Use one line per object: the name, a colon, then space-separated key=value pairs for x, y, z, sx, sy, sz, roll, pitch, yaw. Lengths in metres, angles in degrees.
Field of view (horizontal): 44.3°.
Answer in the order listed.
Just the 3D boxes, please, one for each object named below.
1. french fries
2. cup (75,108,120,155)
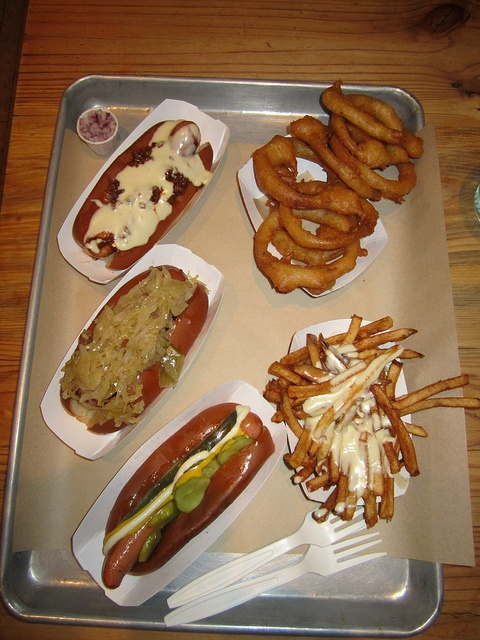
french fries: x=0.466 y=0.422 z=2.531 sx=0.770 sy=0.429 sz=0.864 roll=39 pitch=73 yaw=9
cup: x=-0.655 y=-0.883 z=2.814 sx=0.219 sy=0.158 sz=0.192 roll=-17 pitch=95 yaw=5
